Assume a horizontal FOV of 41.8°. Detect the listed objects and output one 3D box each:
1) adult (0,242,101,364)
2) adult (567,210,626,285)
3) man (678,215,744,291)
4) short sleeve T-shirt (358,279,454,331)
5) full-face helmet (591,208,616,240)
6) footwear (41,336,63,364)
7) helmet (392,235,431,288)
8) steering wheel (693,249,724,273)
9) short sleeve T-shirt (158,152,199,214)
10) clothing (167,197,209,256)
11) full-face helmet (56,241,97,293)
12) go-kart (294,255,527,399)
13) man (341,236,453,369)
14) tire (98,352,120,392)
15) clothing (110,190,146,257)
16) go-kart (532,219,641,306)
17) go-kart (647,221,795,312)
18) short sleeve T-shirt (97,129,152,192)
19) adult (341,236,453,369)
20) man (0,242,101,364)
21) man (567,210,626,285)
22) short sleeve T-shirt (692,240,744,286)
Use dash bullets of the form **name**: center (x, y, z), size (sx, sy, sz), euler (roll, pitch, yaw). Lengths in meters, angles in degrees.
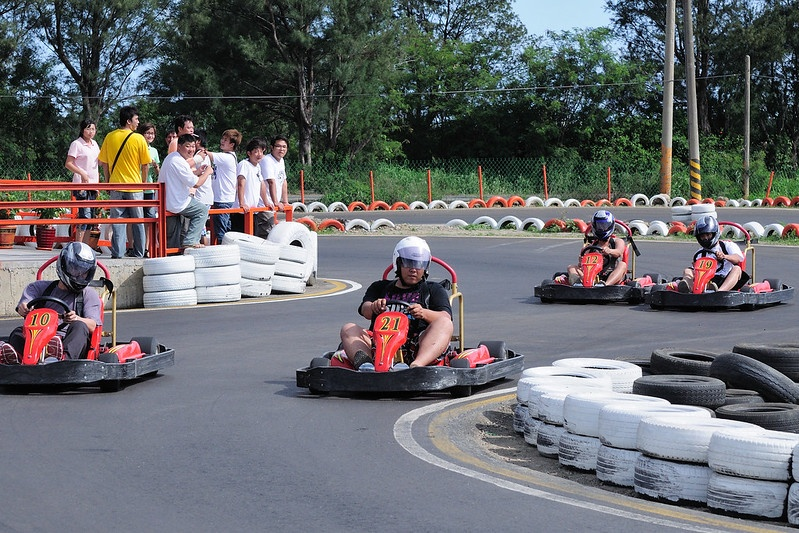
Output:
- **adult**: center (-3.124, 0.412, 9.826), size (0.879, 1.085, 1.216), euler (4, -10, 1)
- **adult**: center (2.845, -0.276, 15.232), size (1.022, 1.159, 1.219), euler (-2, 1, 1)
- **man**: center (4.208, -0.153, 14.308), size (0.894, 1.079, 1.141), euler (-6, 3, 24)
- **short sleeve T-shirt**: center (0.027, 0.364, 9.970), size (0.930, 0.443, 0.851), euler (6, 3, 15)
- **full-face helmet**: center (2.991, -0.615, 15.386), size (0.355, 0.399, 0.456), euler (-2, 0, 19)
- **footwear**: center (-3.163, 0.766, 9.601), size (0.186, 0.227, 0.087), euler (-1, 6, -16)
- **helmet**: center (0.101, -0.064, 10.042), size (0.384, 0.423, 0.423), euler (7, 0, 9)
- **steering wheel**: center (4.256, -0.099, 14.360), size (0.589, 0.271, 0.516), euler (-1, 2, 5)
- **short sleeve T-shirt**: center (-3.025, -1.132, 14.330), size (0.735, 0.715, 0.411), euler (19, 24, 36)
- **clothing**: center (-3.048, -0.609, 14.854), size (0.633, 0.736, 0.578), euler (-7, -3, -8)
- **full-face helmet**: center (-3.046, -0.008, 9.879), size (0.384, 0.441, 0.464), euler (3, 21, -28)
- **go-kart**: center (0.094, 0.622, 10.344), size (1.983, 1.025, 2.353), euler (0, 3, 11)
- **man**: center (-0.047, 0.351, 9.892), size (1.087, 1.204, 1.193), euler (2, 5, -9)
- **tire**: center (-2.678, 0.962, 9.653), size (0.209, 0.356, 0.383), euler (0, 3, 1)
- **clothing**: center (-3.807, -0.646, 14.685), size (0.516, 1.034, 0.352), euler (1, -4, 0)
- **go-kart**: center (2.895, -0.075, 15.387), size (1.601, 1.050, 1.924), euler (1, 6, 22)
- **go-kart**: center (4.240, 0.002, 14.134), size (1.325, 0.832, 1.768), euler (-2, -5, 35)
- **short sleeve T-shirt**: center (-3.840, -1.551, 14.617), size (0.666, 0.730, 0.274), euler (-2, 3, -13)
- **adult**: center (-0.054, 0.362, 9.892), size (1.038, 1.185, 1.193), euler (2, 4, -1)
- **man**: center (-3.143, 0.413, 9.844), size (0.879, 1.085, 1.216), euler (4, -10, 1)
- **man**: center (2.946, -0.291, 15.197), size (0.933, 1.099, 1.154), euler (-1, -3, 28)
- **short sleeve T-shirt**: center (4.321, -0.037, 14.297), size (0.678, 0.355, 0.602), euler (-1, 34, 25)
